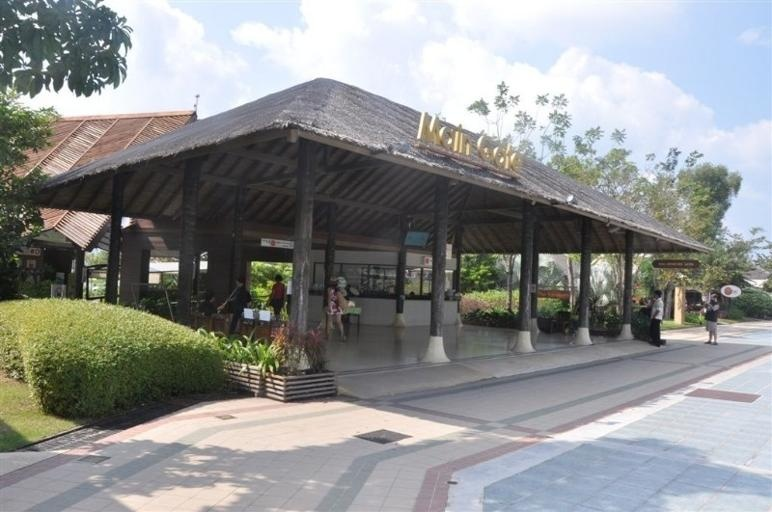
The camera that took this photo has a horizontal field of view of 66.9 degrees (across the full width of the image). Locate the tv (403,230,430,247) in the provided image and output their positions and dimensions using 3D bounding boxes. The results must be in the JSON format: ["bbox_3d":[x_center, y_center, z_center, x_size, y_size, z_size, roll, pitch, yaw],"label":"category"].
[{"bbox_3d":[1.272,-0.691,22.936,0.744,0.593,1.074,0,5,-25],"label":"tv"}]

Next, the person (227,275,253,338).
[{"bbox_3d":[-4.202,1.520,16.147,0.571,1.916,0.685,14,3,-5],"label":"person"}]

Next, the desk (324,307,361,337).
[{"bbox_3d":[-1.547,2.315,21.064,1.176,0.825,1.214,-1,-1,-8],"label":"desk"}]

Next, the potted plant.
[{"bbox_3d":[-2.296,2.230,12.518,2.400,1.401,1.241,5,6,21],"label":"potted plant"}]

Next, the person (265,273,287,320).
[{"bbox_3d":[-3.302,1.159,17.915,0.510,1.097,1.466,1,5,-11],"label":"person"}]

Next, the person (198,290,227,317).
[{"bbox_3d":[-6.362,1.743,21.611,0.705,1.394,0.631,-7,7,-13],"label":"person"}]
